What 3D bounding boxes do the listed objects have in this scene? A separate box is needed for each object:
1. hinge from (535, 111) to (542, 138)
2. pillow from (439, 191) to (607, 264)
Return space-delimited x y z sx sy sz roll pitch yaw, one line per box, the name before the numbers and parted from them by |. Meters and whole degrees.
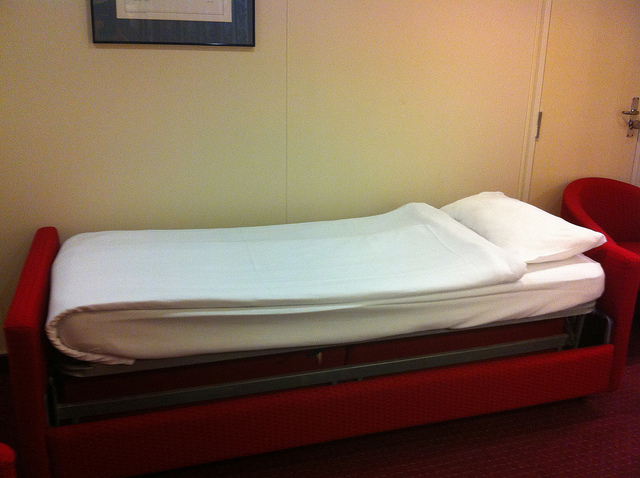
hinge | 1.646 -0.859 3.690 0.033 0.187 0.026 1 20 0
pillow | 1.166 -0.093 3.025 0.431 0.133 0.651 -17 26 -20
